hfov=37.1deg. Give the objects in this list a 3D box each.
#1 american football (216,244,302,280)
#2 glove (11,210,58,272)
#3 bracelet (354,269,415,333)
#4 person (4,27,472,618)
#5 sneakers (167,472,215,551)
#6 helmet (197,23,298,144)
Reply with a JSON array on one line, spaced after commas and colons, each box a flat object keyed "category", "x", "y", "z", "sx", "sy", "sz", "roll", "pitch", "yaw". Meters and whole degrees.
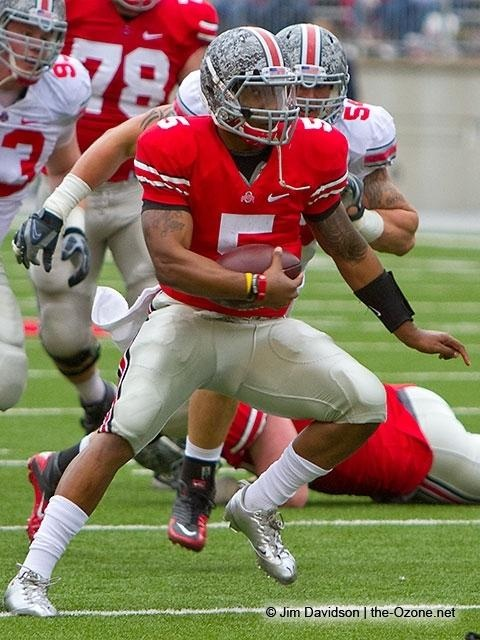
[{"category": "american football", "x": 0.049, "y": -0.139, "z": 1.608, "sx": 0.167, "sy": 0.077, "sz": 0.129, "roll": -9, "pitch": 14, "yaw": -38}, {"category": "glove", "x": -0.543, "y": -0.229, "z": 1.952, "sx": 0.135, "sy": 0.169, "sz": 0.128, "roll": -14, "pitch": 21, "yaw": -22}, {"category": "bracelet", "x": 0.377, "y": -0.044, "z": 1.909, "sx": 0.148, "sy": 0.166, "sz": 0.103, "roll": -1, "pitch": 18, "yaw": -7}, {"category": "person", "x": 0.011, "y": -0.013, "z": 1.670, "sx": 0.893, "sy": 1.302, "sz": 0.536, "roll": 0, "pitch": -3, "yaw": 7}, {"category": "sneakers", "x": -0.150, "y": 0.568, "z": 2.111, "sx": 0.103, "sy": 0.102, "sz": 0.253, "roll": 14, "pitch": 25, "yaw": -11}, {"category": "helmet", "x": 0.010, "y": -0.497, "z": 1.568, "sx": 0.211, "sy": 0.266, "sz": 0.219, "roll": -9, "pitch": 21, "yaw": -18}]
